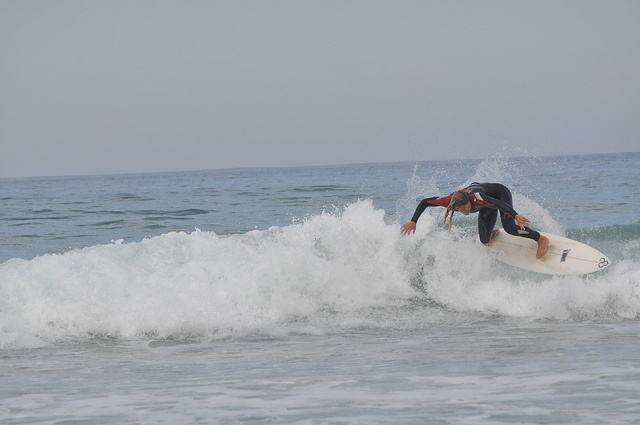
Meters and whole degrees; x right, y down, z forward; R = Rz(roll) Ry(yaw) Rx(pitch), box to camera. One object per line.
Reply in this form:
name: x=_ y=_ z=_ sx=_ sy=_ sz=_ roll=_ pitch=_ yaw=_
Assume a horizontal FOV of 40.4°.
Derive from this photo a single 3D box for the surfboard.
surfboard: x=3.965 y=0.792 z=15.749 sx=2.433 sy=0.719 sz=0.321 roll=13 pitch=-29 yaw=8
